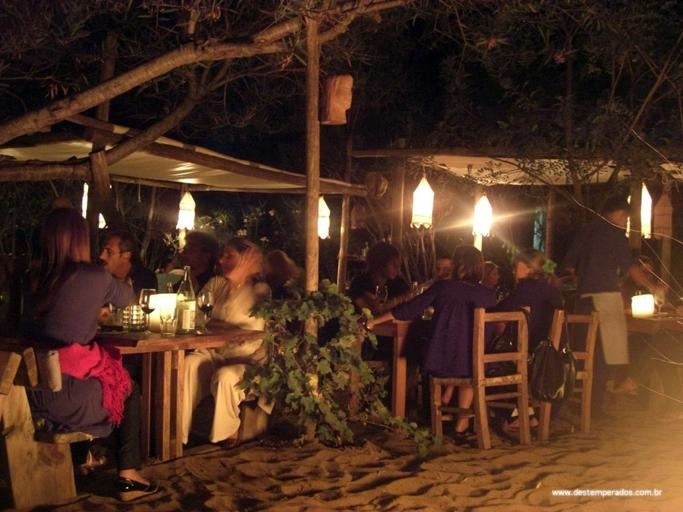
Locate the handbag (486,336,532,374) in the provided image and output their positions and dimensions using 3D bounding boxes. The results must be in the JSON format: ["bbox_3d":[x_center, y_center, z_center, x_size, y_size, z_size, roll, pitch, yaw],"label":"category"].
[{"bbox_3d":[1.650,1.008,6.687,0.479,0.493,0.297,0,0,26],"label":"handbag"}]

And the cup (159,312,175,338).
[{"bbox_3d":[-1.446,0.574,5.477,0.159,0.178,0.152,1,-1,0],"label":"cup"}]

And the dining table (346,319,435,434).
[{"bbox_3d":[0.418,1.112,6.799,0.817,1.238,0.857,1,-3,-4],"label":"dining table"}]

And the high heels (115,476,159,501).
[{"bbox_3d":[-1.554,1.764,5.017,0.311,0.132,0.135,3,-3,-36],"label":"high heels"}]

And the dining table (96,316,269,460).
[{"bbox_3d":[-1.393,1.090,5.702,1.144,1.057,1.126,1,-1,-35],"label":"dining table"}]

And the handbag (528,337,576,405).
[{"bbox_3d":[1.957,0.888,6.243,0.450,0.840,0.883,1,-3,23],"label":"handbag"}]

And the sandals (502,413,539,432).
[{"bbox_3d":[1.833,1.704,6.706,0.353,0.142,0.208,-12,5,-27],"label":"sandals"}]
